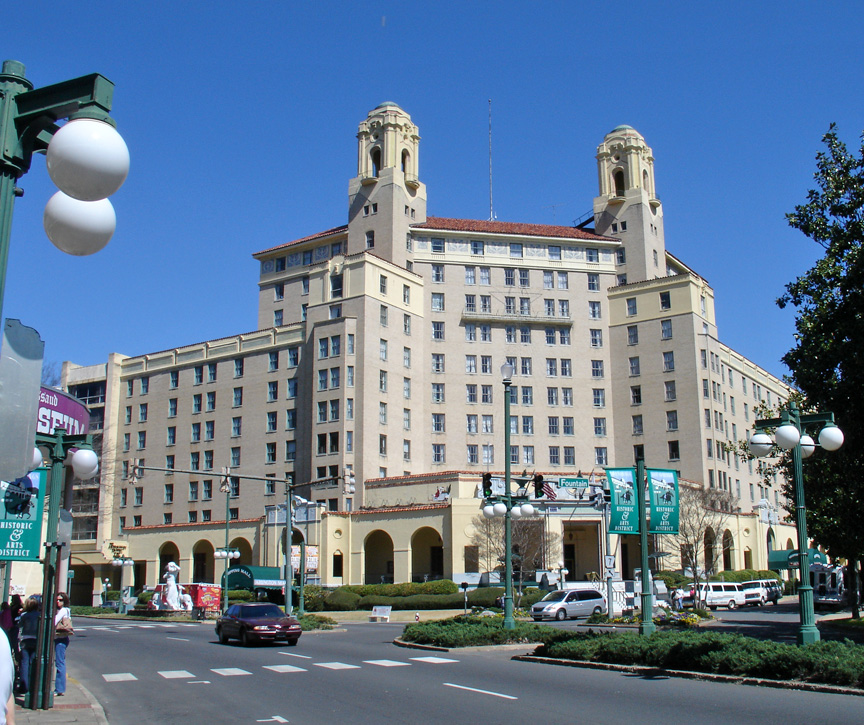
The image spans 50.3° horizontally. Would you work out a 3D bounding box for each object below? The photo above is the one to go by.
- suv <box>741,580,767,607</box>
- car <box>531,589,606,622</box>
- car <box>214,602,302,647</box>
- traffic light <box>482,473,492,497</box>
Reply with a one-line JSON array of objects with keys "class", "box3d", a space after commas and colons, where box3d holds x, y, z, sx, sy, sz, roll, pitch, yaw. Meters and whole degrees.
[{"class": "suv", "box3d": [22.827, 16.126, 64.699, 1.372, 1.337, 2.417, -6, -26, 14]}, {"class": "car", "box3d": [7.185, 12.702, 48.233, 3.404, 1.278, 1.619, 6, -14, -28]}, {"class": "car", "box3d": [-6.086, 8.845, 31.299, 1.388, 1.040, 3.115, 9, -21, -27]}, {"class": "traffic light", "box3d": [1.873, 4.095, 30.973, 0.229, 0.861, 0.507, -6, -16, 15]}]
